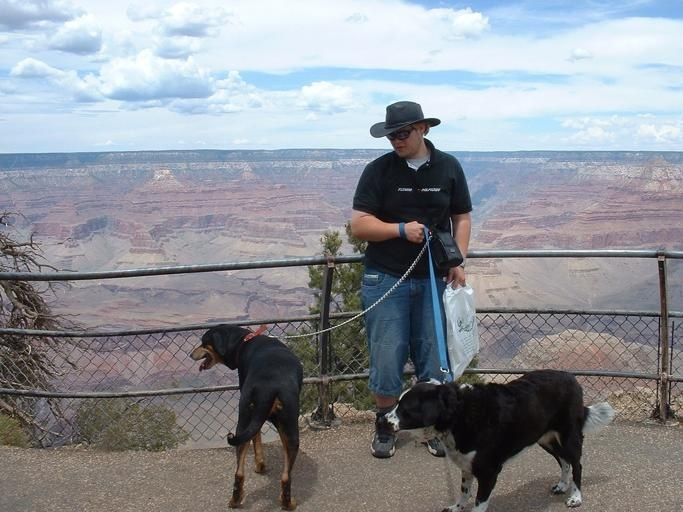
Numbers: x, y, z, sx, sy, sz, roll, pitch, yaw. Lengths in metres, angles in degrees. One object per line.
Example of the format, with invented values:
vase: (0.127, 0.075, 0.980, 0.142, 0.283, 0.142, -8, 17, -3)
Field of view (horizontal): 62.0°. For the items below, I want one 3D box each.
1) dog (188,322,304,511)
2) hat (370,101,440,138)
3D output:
dog: (-0.690, 1.175, 4.292, 0.726, 1.347, 0.897, 2, -9, -21)
hat: (0.512, -1.070, 4.553, 0.479, 0.267, 0.263, -2, -9, 5)
